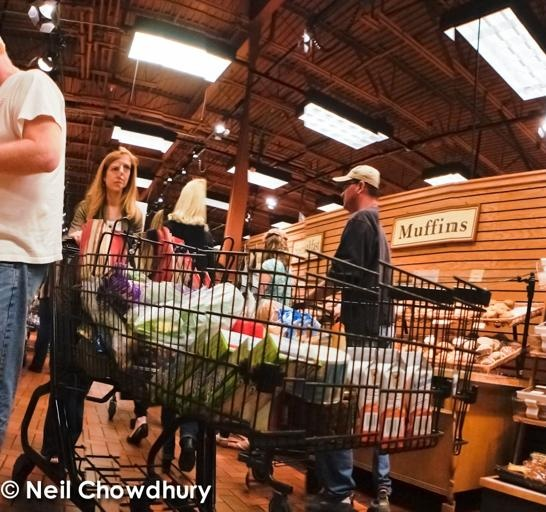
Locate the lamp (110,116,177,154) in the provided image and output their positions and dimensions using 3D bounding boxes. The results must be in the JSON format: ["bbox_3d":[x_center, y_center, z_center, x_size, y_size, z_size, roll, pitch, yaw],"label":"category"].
[{"bbox_3d":[-2.383,-2.229,8.342,1.069,0.337,0.823,8,-10,-20],"label":"lamp"}]

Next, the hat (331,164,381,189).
[{"bbox_3d":[0.433,-0.408,2.347,0.244,0.090,0.139,6,-1,7],"label":"hat"}]

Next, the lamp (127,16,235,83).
[{"bbox_3d":[-1.160,-2.537,5.630,1.174,0.261,0.761,9,-10,-25],"label":"lamp"}]

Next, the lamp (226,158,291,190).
[{"bbox_3d":[-0.263,-1.615,9.676,1.025,0.209,0.882,15,-18,-25],"label":"lamp"}]

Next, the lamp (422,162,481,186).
[{"bbox_3d":[3.263,-1.534,8.464,0.509,0.391,0.847,10,-11,-26],"label":"lamp"}]

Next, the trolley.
[{"bbox_3d":[-0.063,0.382,1.500,0.843,0.842,1.261,23,-28,-16],"label":"trolley"}]
